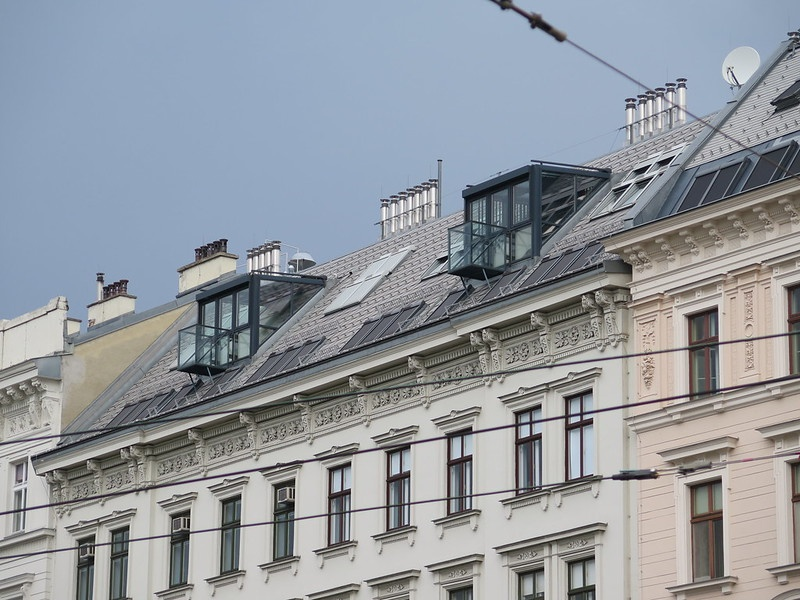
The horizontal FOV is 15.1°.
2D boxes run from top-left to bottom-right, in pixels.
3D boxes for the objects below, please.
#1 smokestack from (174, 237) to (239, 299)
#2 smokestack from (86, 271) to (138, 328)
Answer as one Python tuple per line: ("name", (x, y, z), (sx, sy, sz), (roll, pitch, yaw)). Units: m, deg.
("smokestack", (-6.305, -1.207, 101.222), (1.014, 1.729, 2.494), (17, -23, -36))
("smokestack", (-8.841, 0.126, 93.541), (1.304, 1.363, 0.629), (-22, -35, 26))
